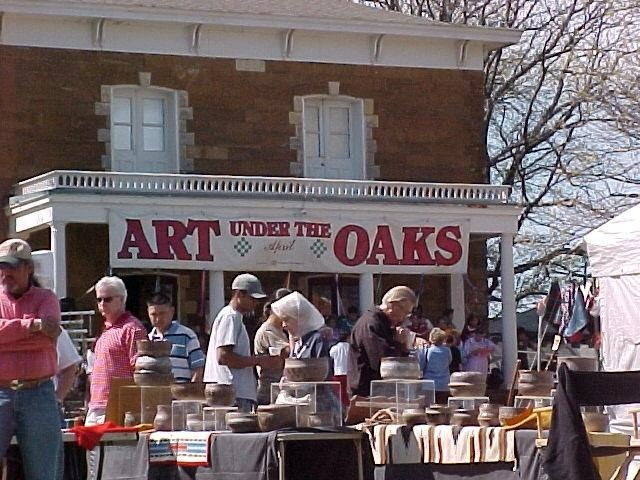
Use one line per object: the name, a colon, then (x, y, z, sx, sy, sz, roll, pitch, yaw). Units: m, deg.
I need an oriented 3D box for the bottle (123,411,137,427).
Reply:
bottle: (-3.012, 2.846, 30.212, 0.214, 0.182, 0.204, 1, -1, -23)

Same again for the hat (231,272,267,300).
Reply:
hat: (-1.163, 0.774, 31.083, 0.519, 0.266, 0.355, 6, 5, -6)
